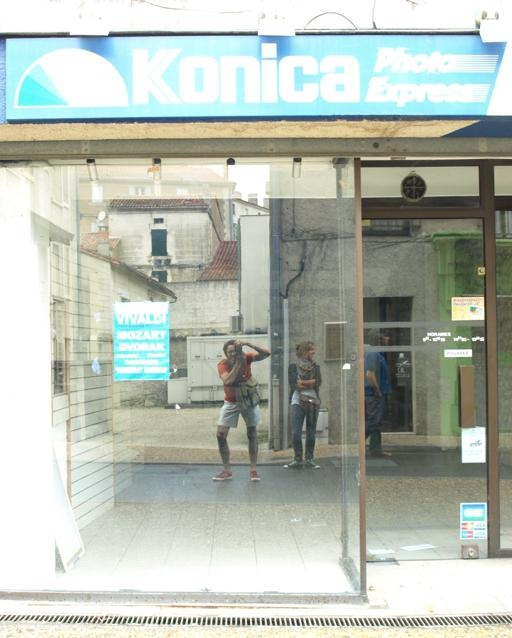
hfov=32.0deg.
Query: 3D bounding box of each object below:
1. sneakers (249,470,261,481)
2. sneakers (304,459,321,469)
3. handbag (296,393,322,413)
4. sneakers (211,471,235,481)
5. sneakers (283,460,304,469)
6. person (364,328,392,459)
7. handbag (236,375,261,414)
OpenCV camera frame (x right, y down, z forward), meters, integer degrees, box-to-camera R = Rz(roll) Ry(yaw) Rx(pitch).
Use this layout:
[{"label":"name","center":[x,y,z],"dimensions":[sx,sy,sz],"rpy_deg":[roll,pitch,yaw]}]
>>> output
[{"label":"sneakers","center":[-0.004,1.070,6.083],"dimensions":[0.055,0.056,0.128],"rpy_deg":[1,-8,-6]},{"label":"sneakers","center":[0.388,0.987,6.027],"dimensions":[0.116,0.051,0.040],"rpy_deg":[-1,-2,44]},{"label":"handbag","center":[0.369,0.572,6.049],"dimensions":[0.117,0.074,0.032],"rpy_deg":[15,-3,13]},{"label":"sneakers","center":[-0.225,1.072,6.077],"dimensions":[0.148,0.067,0.054],"rpy_deg":[3,-6,-7]},{"label":"sneakers","center":[0.263,0.993,6.073],"dimensions":[0.153,0.071,0.053],"rpy_deg":[2,-7,2]},{"label":"person","center":[0.912,0.560,6.665],"dimensions":[0.191,0.944,0.092],"rpy_deg":[-1,-1,5]},{"label":"handbag","center":[-0.056,0.525,6.099],"dimensions":[0.232,0.258,0.142],"rpy_deg":[-3,3,11]}]
